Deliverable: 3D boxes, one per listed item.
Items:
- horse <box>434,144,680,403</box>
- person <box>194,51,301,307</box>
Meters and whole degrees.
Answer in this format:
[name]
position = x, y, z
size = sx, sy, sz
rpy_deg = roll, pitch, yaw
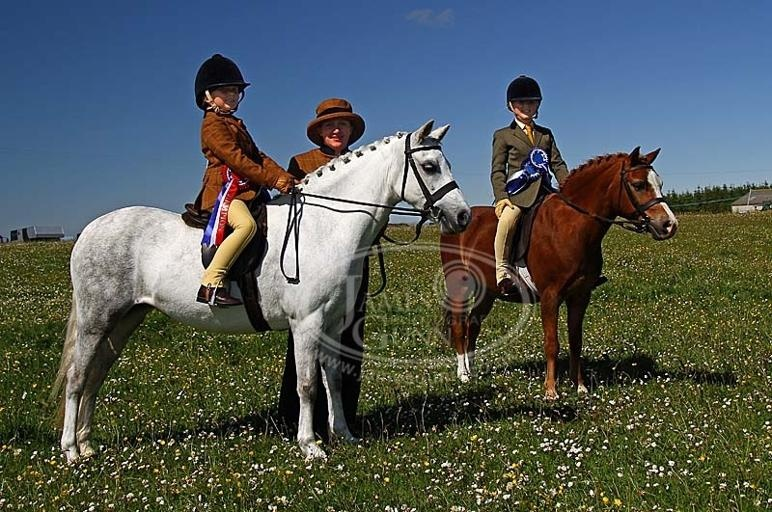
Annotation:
[horse]
position = 3.307, 0.455, 12.140
size = 1.849, 4.874, 6.461
rpy_deg = 3, -6, -36
[person]
position = -2.613, -1.307, 9.160
size = 1.487, 3.949, 0.892
rpy_deg = -6, 3, -14
